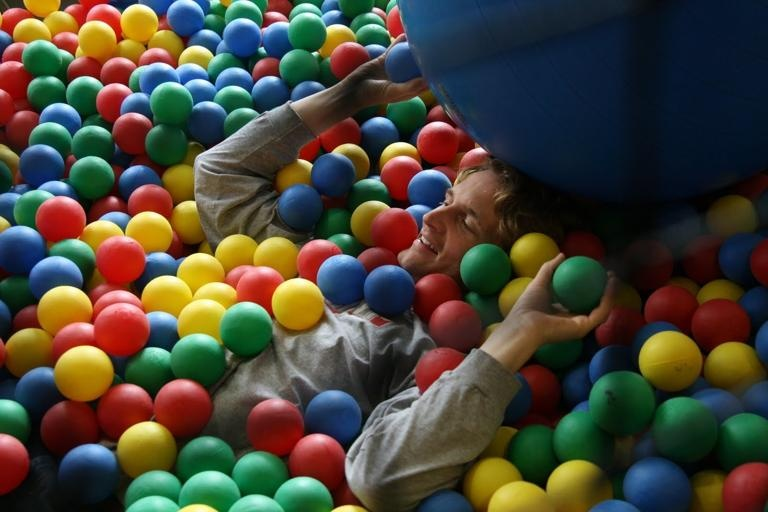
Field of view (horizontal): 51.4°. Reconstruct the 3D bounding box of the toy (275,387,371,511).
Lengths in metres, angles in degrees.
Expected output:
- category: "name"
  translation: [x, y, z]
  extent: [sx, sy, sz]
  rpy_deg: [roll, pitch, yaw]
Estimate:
- category: "toy"
  translation: [-0.162, 0.542, 2.247]
  extent: [0.186, 0.179, 0.271]
  rpy_deg: [-16, 33, 19]
